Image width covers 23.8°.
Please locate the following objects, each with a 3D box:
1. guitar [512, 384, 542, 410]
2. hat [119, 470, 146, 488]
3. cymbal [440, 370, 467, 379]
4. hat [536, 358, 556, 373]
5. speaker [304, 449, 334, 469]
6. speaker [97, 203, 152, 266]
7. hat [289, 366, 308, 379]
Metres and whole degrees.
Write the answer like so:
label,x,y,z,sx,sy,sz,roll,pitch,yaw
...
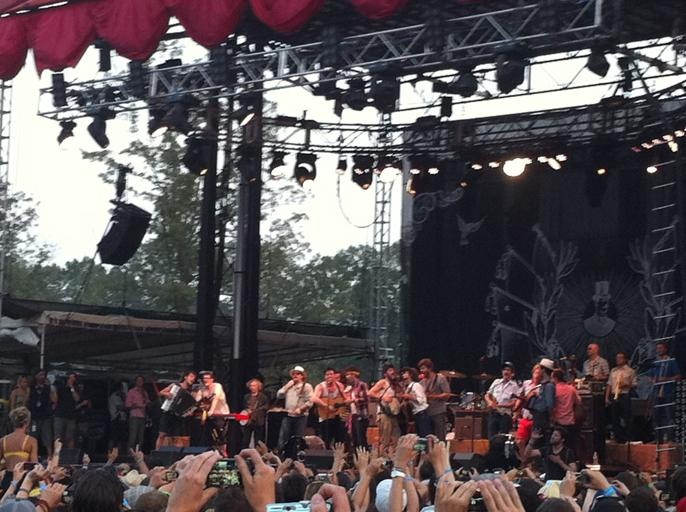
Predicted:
label,x,y,z,sx,sy,sz,roll,pitch,yaw
guitar,3.842,2.914,33.660,0.312,0.444,0.507,34,-34,-17
hat,-3.669,3.847,28.364,0.351,0.119,0.331,7,9,28
cymbal,2.499,2.630,36.828,0.495,0.082,0.471,8,0,29
hat,4.287,2.232,33.763,0.305,0.110,0.331,7,-17,40
speaker,-0.481,3.999,32.187,0.755,0.387,0.346,2,-22,-5
speaker,-5.002,-0.551,37.083,1.162,1.438,0.530,-4,-7,27
hat,-0.912,2.520,35.086,0.432,0.156,0.425,1,-36,15
